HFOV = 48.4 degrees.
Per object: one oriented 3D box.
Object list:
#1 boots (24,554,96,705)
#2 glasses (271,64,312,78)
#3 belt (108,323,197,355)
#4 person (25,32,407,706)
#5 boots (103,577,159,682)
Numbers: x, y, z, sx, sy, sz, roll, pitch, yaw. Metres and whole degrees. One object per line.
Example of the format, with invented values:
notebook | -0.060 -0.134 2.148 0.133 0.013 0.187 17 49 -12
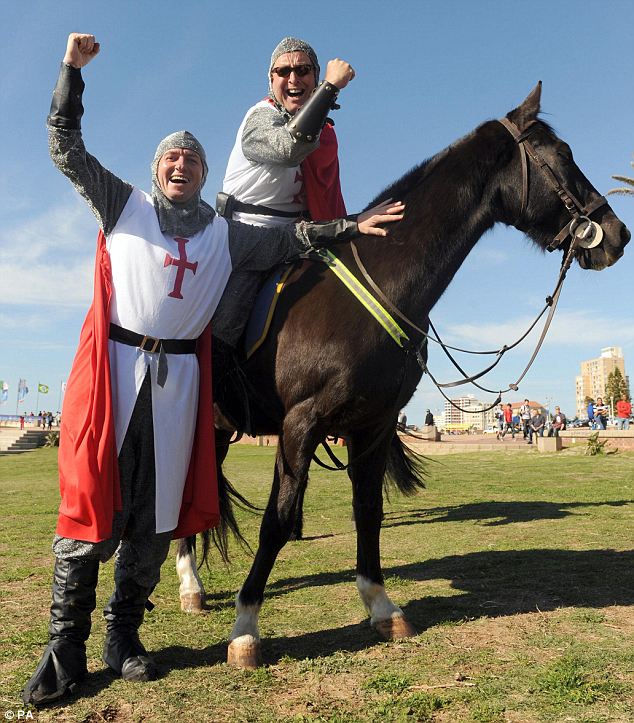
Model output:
boots | -1.116 1.160 3.100 0.258 0.551 0.352 -1 -4 -7
glasses | -0.140 -1.766 4.261 0.150 0.037 0.137 -1 6 -3
belt | -0.809 -0.094 3.438 0.223 0.046 0.213 22 -5 -32
person | -0.775 -0.014 3.499 1.325 2.925 0.435 2 -6 -41
boots | -0.868 1.238 3.279 0.228 0.394 0.400 0 -4 -16
